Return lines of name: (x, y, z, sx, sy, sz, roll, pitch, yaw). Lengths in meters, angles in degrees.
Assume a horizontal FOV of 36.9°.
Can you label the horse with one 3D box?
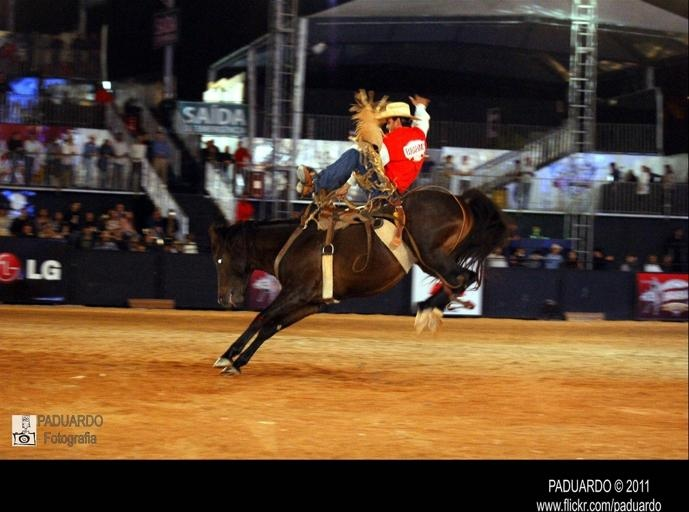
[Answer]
horse: (0.278, 0.647, 19.373, 7.019, 2.831, 1.414, -14, -33, 0)
